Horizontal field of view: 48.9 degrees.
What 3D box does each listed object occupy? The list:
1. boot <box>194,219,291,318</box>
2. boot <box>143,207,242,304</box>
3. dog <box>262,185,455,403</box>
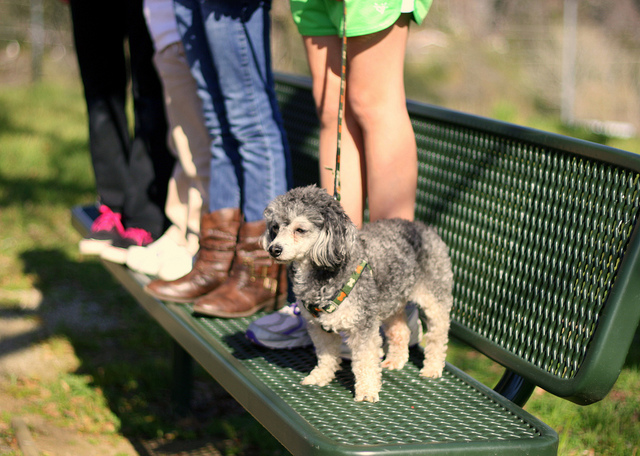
[{"bbox_3d":[-0.413,0.230,3.807,0.567,0.524,0.231,-11,18,-42],"label":"boot"},{"bbox_3d":[-0.668,0.122,3.943,0.648,0.519,0.259,-8,22,-40],"label":"boot"},{"bbox_3d":[0.223,0.291,3.499,0.979,1.113,0.499,-11,16,-29],"label":"dog"}]
